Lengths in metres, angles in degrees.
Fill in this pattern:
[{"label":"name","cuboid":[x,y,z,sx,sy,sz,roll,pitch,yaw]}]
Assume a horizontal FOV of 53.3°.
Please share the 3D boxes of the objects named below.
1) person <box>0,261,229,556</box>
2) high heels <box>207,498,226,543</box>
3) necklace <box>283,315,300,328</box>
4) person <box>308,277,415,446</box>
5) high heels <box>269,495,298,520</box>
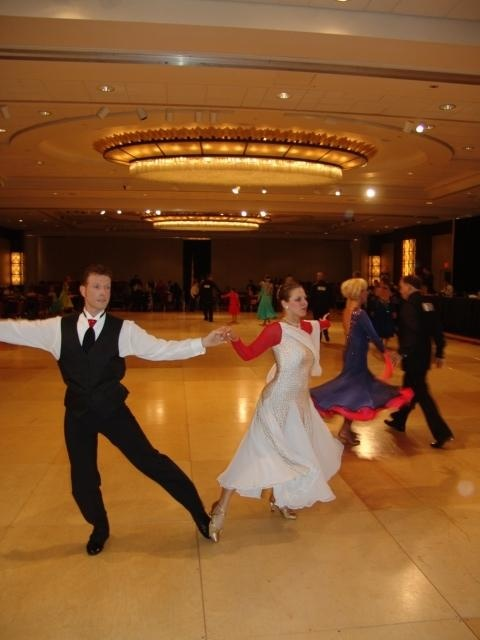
[{"label":"person","cuboid":[-0.607,0.454,2.301,1.014,1.400,0.295,0,1,-14]},{"label":"high heels","cuboid":[-0.121,1.050,2.510,0.074,0.202,0.056,1,1,-25]},{"label":"necklace","cuboid":[0.292,0.008,2.719,0.058,0.028,0.080,12,-5,13]},{"label":"person","cuboid":[1.059,0.360,4.381,1.007,1.377,0.938,-3,5,-23]},{"label":"high heels","cuboid":[0.219,1.117,2.846,0.080,0.114,0.239,12,-14,-34]}]
